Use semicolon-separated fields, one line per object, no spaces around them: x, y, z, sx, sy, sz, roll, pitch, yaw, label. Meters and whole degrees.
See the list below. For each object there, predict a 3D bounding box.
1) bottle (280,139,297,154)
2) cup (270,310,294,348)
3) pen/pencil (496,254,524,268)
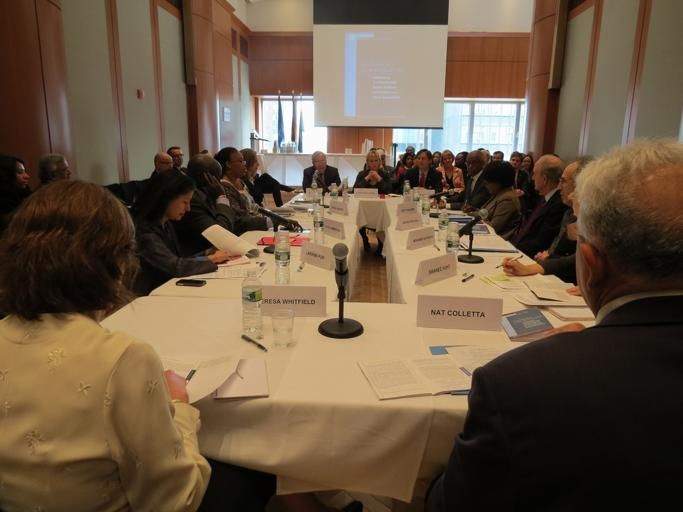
-1.222;-2.498;11.478;0.344;0.250;0.349;0;15;0;bottle
-0.201;0.251;1.805;0.093;0.154;0.112;0;7;13;cup
0.926;0.030;2.748;0.163;0.021;0.024;-18;4;-31;pen/pencil
